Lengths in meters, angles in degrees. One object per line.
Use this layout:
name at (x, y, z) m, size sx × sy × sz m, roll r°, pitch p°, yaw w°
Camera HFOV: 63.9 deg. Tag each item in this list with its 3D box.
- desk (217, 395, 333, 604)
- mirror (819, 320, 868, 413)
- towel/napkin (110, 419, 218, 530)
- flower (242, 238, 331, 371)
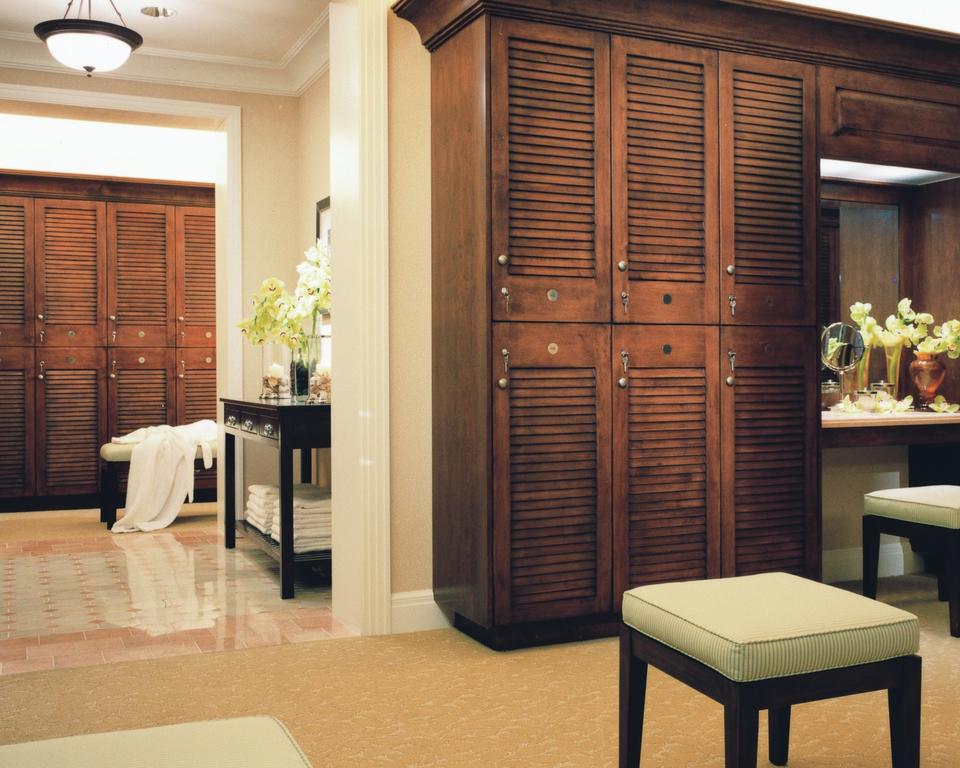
desk at (-1.162, 0.648, 4.350) m, size 0.420 × 0.844 × 0.996 m, roll -1°, pitch 2°, yaw -24°
mirror at (1.929, -0.111, 4.087) m, size 0.212 × 0.447 × 0.107 m, roll 6°, pitch 28°, yaw 28°
towel/napkin at (-2.382, 0.667, 5.801) m, size 0.722 × 0.286 × 0.926 m, roll -1°, pitch 5°, yaw -12°
flower at (-1.084, -0.450, 4.370) m, size 0.548 × 0.685 × 0.265 m, roll 0°, pitch 0°, yaw 27°
